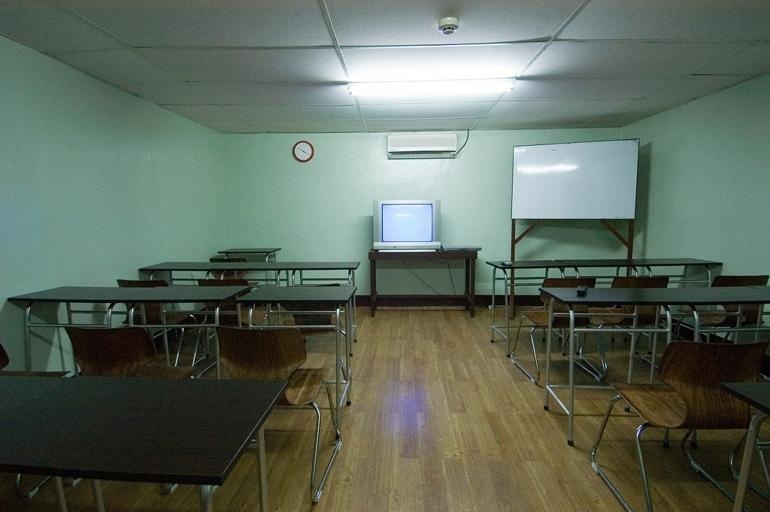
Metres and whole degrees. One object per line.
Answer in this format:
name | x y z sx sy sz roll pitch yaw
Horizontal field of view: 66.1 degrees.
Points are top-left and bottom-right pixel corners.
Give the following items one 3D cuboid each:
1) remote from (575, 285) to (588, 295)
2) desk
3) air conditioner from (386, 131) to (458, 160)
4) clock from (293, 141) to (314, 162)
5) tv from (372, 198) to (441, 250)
remote | 1.855 0.324 5.578 0.087 0.087 0.101 -1 1 38
desk | 0.585 0.349 8.593 1.528 0.952 0.877 0 3 5
air conditioner | 0.573 -1.626 8.704 1.057 0.367 0.217 0 3 -1
clock | -1.193 -1.559 8.807 0.306 0.330 0.064 1 4 11
tv | 0.196 -0.433 8.719 1.176 0.740 0.623 -2 5 -31
